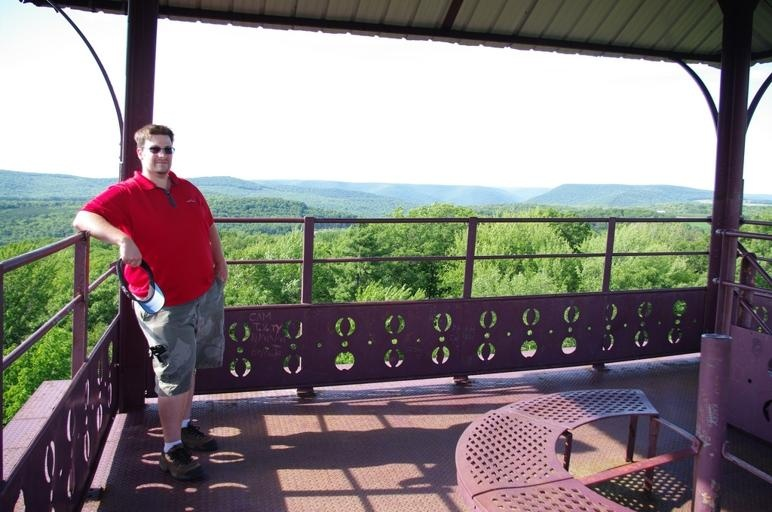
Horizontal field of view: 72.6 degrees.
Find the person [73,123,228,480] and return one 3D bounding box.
[{"bbox_3d":[-1.498,0.328,3.612,0.992,2.390,0.595,-8,14,-38],"label":"person"}]

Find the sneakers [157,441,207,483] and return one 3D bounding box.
[{"bbox_3d":[-1.455,1.439,3.717,0.399,0.183,0.177,7,3,36],"label":"sneakers"}]

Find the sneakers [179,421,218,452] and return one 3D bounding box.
[{"bbox_3d":[-1.436,1.376,4.009,0.316,0.138,0.138,8,5,18],"label":"sneakers"}]

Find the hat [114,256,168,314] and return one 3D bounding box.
[{"bbox_3d":[-1.609,0.212,3.452,0.336,0.378,0.129,5,12,20],"label":"hat"}]
